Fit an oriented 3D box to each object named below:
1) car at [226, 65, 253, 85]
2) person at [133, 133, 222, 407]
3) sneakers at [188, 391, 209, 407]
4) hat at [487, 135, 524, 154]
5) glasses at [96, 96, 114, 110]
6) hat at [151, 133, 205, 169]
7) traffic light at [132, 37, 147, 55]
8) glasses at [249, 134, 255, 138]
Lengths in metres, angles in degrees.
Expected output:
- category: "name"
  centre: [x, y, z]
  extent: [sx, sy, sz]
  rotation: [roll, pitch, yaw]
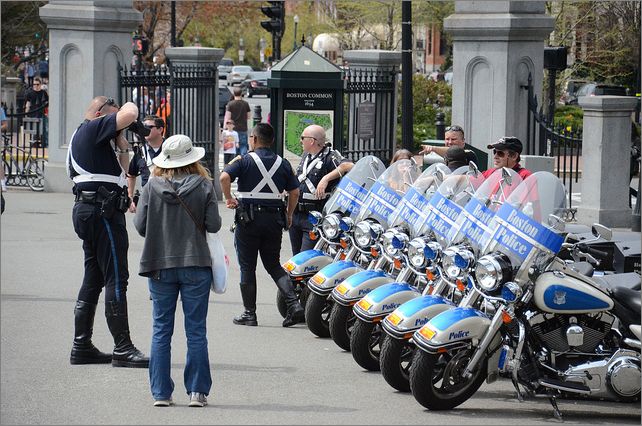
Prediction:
- category: "car"
  centre: [-5.448, -9.105, 63.088]
  extent: [1.166, 0.992, 2.888]
  rotation: [-2, 11, -6]
- category: "person"
  centre: [-1.657, 0.658, 10.941]
  extent: [0.974, 2.960, 0.972]
  rotation: [0, 14, -8]
- category: "sneakers"
  centre: [-1.401, 2.123, 10.915]
  extent: [0.098, 0.133, 0.260]
  rotation: [3, 4, 10]
- category: "hat"
  centre: [2.481, -0.910, 12.692]
  extent: [0.375, 0.189, 0.242]
  rotation: [7, 2, -4]
- category: "glasses"
  centre: [-2.712, -1.350, 11.993]
  extent: [0.169, 0.052, 0.171]
  rotation: [-34, 11, 3]
- category: "hat"
  centre: [-1.678, -0.745, 11.080]
  extent: [0.583, 0.249, 0.636]
  rotation: [-11, 19, -1]
- category: "traffic light"
  centre: [-5.158, -4.733, 27.114]
  extent: [0.389, 0.504, 1.358]
  rotation: [-1, 15, -11]
- category: "glasses"
  centre: [-0.966, -1.069, 13.359]
  extent: [0.018, 0.070, 0.067]
  rotation: [26, 29, 35]
